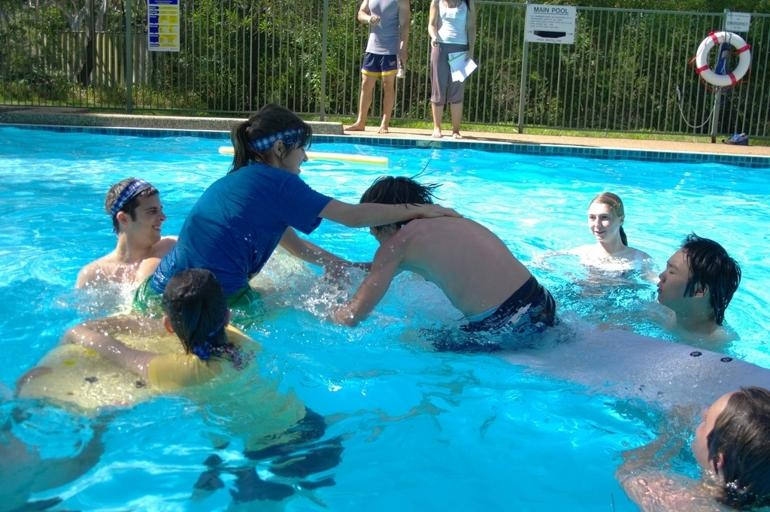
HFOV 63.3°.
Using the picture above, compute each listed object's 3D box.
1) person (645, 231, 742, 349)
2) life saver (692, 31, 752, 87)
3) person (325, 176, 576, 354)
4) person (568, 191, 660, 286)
[{"bbox_3d":[2.181,0.212,4.376,0.499,0.742,0.745,14,13,15],"label":"person"},{"bbox_3d":[6.051,-3.528,11.214,0.861,0.979,0.521,6,13,16],"label":"life saver"},{"bbox_3d":[0.389,0.095,4.294,1.387,0.939,1.020,26,44,22],"label":"person"},{"bbox_3d":[2.073,-0.153,5.677,0.490,0.833,0.999,-5,6,-39],"label":"person"}]
